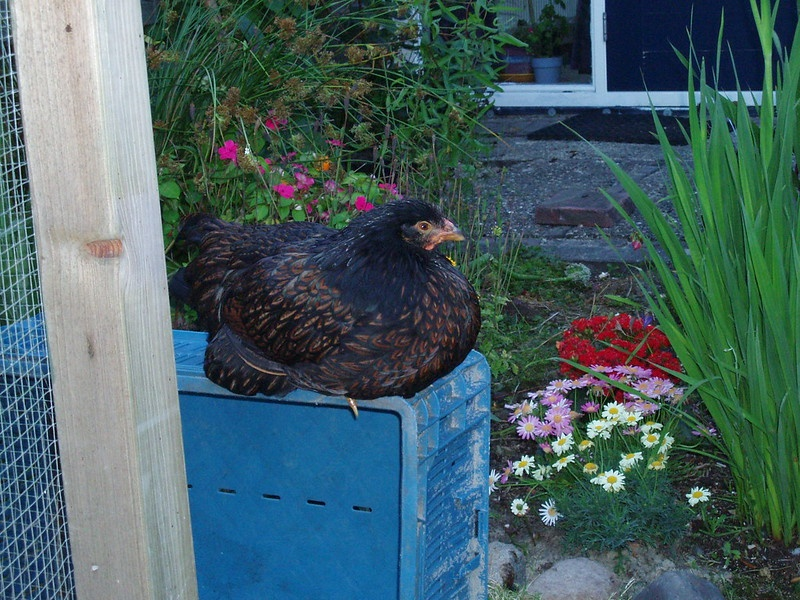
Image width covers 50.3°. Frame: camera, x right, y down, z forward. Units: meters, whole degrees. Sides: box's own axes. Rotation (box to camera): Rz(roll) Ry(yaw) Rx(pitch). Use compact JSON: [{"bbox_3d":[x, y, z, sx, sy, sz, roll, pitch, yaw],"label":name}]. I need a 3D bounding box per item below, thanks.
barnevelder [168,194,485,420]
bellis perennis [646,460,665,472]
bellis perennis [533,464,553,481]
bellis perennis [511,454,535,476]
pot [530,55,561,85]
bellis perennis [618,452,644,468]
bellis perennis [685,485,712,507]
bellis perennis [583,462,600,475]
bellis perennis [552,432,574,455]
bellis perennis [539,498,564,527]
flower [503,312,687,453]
[{"bbox_3d":[-0.278,0.045,2.738,0.979,0.830,0.680,9,13,12],"label":"barnevelder"},{"bbox_3d":[0.913,0.601,3.030,0.052,0.021,0.057,-12,10,-14],"label":"bellis perennis"},{"bbox_3d":[0.539,0.648,3.201,0.059,0.032,0.063,-20,-10,17],"label":"bellis perennis"},{"bbox_3d":[0.470,0.626,3.233,0.084,0.021,0.085,-38,-20,15],"label":"bellis perennis"},{"bbox_3d":[1.850,-2.863,10.826,0.338,0.326,0.392,-3,9,-8],"label":"pot"},{"bbox_3d":[0.828,0.571,3.042,0.066,0.020,0.068,-31,3,42],"label":"bellis perennis"},{"bbox_3d":[1.053,0.683,2.981,0.079,0.029,0.084,-27,6,-3],"label":"bellis perennis"},{"bbox_3d":[0.684,0.611,3.052,0.042,0.020,0.051,-7,11,12],"label":"bellis perennis"},{"bbox_3d":[0.600,0.532,3.152,0.076,0.024,0.077,-17,27,47],"label":"bellis perennis"},{"bbox_3d":[0.551,0.792,3.113,0.082,0.034,0.097,-28,45,18],"label":"bellis perennis"},{"bbox_3d":[0.796,0.372,3.467,0.581,0.355,0.478,-20,-4,32],"label":"flower"}]
